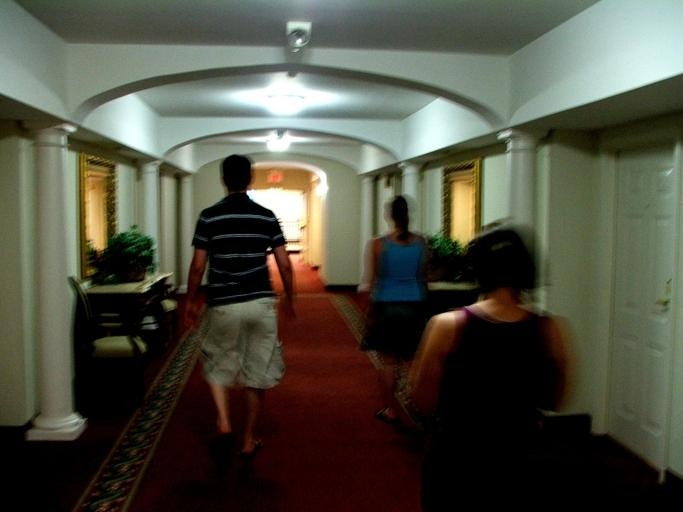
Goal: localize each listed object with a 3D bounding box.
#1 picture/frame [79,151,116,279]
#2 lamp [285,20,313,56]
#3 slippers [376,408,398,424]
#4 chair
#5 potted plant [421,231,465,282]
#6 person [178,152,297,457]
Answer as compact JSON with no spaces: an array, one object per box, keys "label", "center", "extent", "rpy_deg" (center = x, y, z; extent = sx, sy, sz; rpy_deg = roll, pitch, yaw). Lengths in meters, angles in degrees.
[{"label":"picture/frame","center":[-3.051,-0.510,6.324],"extent":[0.242,1.421,1.328],"rpy_deg":[0,5,-17]},{"label":"lamp","center":[-0.367,-1.846,4.229],"extent":[0.204,0.164,0.210],"rpy_deg":[1,5,-8]},{"label":"slippers","center":[0.405,1.446,4.571],"extent":[0.160,0.155,0.056],"rpy_deg":[-34,2,25]},{"label":"chair","center":[-2.443,0.886,5.330],"extent":[0.785,1.225,0.785],"rpy_deg":[6,-5,-30]},{"label":"potted plant","center":[1.328,0.014,6.542],"extent":[0.604,0.316,0.709],"rpy_deg":[-1,22,1]},{"label":"person","center":[-0.765,0.431,3.736],"extent":[0.544,2.340,0.675],"rpy_deg":[5,6,39]}]
